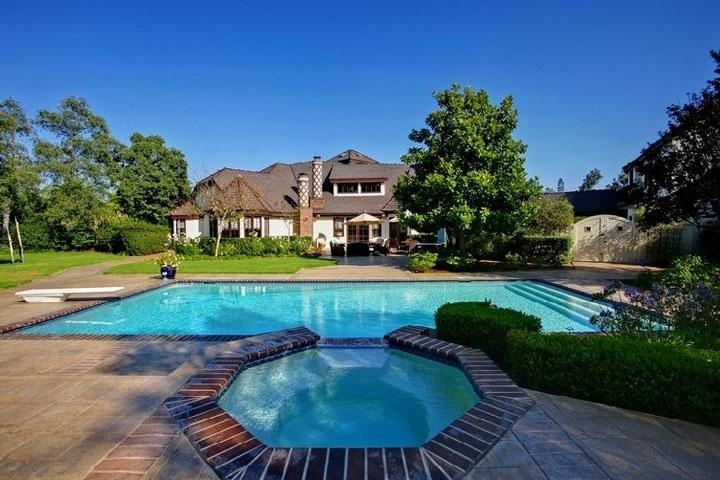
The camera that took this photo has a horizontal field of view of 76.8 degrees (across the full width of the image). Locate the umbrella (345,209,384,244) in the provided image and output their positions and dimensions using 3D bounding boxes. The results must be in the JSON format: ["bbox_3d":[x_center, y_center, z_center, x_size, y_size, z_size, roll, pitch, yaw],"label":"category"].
[{"bbox_3d":[0.242,-1.029,39.361,2.652,2.258,2.743,0,-1,2],"label":"umbrella"}]

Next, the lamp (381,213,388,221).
[{"bbox_3d":[2.128,-2.103,39.520,0.674,0.550,0.417,0,2,-1],"label":"lamp"}]

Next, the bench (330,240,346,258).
[{"bbox_3d":[-1.733,0.380,34.660,0.982,1.329,1.846,0,2,2],"label":"bench"}]

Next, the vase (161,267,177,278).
[{"bbox_3d":[-10.157,1.711,24.153,0.695,0.610,0.370,-1,2,-21],"label":"vase"}]

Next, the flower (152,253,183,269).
[{"bbox_3d":[-10.674,1.113,25.234,1.812,1.138,1.858,6,-1,-18],"label":"flower"}]

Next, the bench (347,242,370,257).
[{"bbox_3d":[-0.190,0.688,34.684,1.622,1.070,1.114,0,2,-2],"label":"bench"}]

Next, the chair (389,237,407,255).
[{"bbox_3d":[3.195,0.486,39.121,1.399,1.635,1.237,1,3,13],"label":"chair"}]

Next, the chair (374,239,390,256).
[{"bbox_3d":[1.579,0.587,35.929,1.055,1.513,1.329,0,-4,4],"label":"chair"}]
